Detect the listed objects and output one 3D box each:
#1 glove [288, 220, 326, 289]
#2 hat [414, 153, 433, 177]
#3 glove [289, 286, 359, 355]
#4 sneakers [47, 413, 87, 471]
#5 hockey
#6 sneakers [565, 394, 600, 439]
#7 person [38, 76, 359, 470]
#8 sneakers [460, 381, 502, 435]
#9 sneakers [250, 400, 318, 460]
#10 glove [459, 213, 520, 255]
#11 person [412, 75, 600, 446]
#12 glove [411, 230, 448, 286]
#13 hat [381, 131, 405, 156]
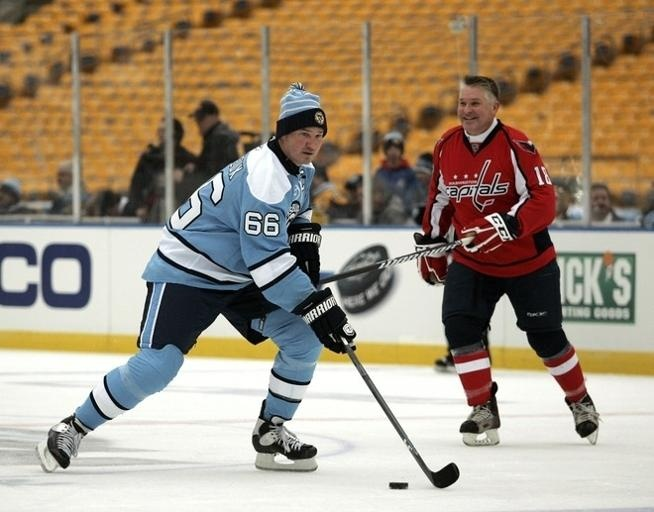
[{"bbox_3d":[-0.100,-0.005,5.006,0.103,0.265,0.193,-1,4,-23],"label":"glove"},{"bbox_3d":[0.740,-0.707,8.204,0.129,0.125,0.169,13,1,2],"label":"hat"},{"bbox_3d":[0.008,0.275,4.790,0.201,0.326,0.150,-37,12,10],"label":"glove"},{"bbox_3d":[-1.165,0.832,4.795,0.169,0.254,0.179,1,3,-28],"label":"sneakers"},{"bbox_3d":[0.348,0.690,4.724,0.530,0.587,0.372,3,3,14],"label":"hockey"},{"bbox_3d":[1.307,0.836,5.486,0.092,0.108,0.278,-41,12,21],"label":"sneakers"},{"bbox_3d":[-0.459,0.091,4.847,1.194,1.758,0.471,2,3,0],"label":"person"},{"bbox_3d":[0.772,0.796,5.368,0.211,0.178,0.086,0,3,-35],"label":"sneakers"},{"bbox_3d":[-0.116,0.844,4.984,0.375,0.267,0.140,3,-4,17],"label":"sneakers"},{"bbox_3d":[0.801,-0.114,5.267,0.268,0.189,0.089,4,3,39],"label":"glove"},{"bbox_3d":[0.905,0.024,5.443,0.922,1.845,0.462,2,3,3],"label":"person"},{"bbox_3d":[0.553,0.012,5.667,0.110,0.245,0.202,1,12,-11],"label":"glove"},{"bbox_3d":[0.521,-0.890,8.343,0.164,0.151,0.172,5,5,42],"label":"hat"}]
